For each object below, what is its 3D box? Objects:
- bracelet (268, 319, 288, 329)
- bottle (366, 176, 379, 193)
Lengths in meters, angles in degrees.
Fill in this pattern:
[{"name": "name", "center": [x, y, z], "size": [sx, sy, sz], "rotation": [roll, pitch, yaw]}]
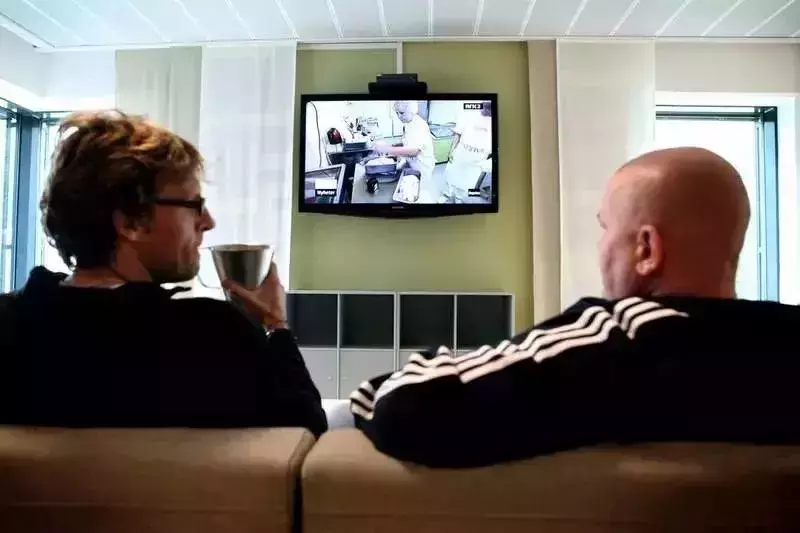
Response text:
[{"name": "bracelet", "center": [-0.416, 0.198, 2.440], "size": [0.043, 0.030, 0.040], "rotation": [1, -2, -3]}, {"name": "bottle", "center": [-0.185, -0.529, 4.634], "size": [0.096, 0.126, 0.095], "rotation": [-3, 7, 0]}]
